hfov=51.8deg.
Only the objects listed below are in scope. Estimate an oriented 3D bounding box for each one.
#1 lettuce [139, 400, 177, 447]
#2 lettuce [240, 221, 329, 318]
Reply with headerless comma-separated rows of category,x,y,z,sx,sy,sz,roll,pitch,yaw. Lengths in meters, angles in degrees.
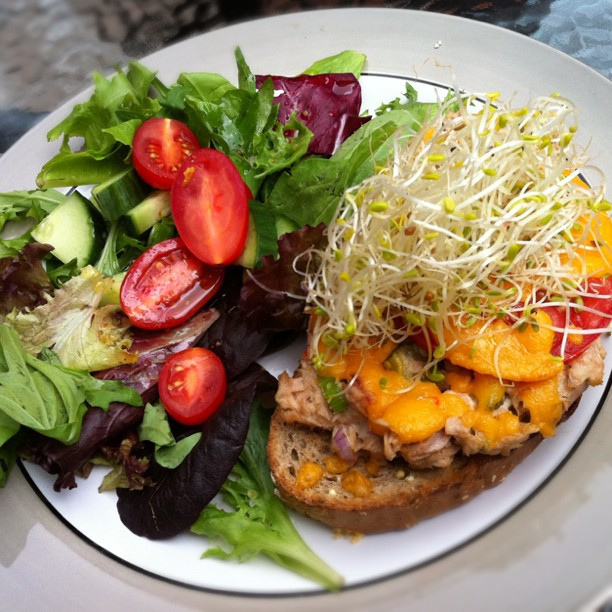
lettuce,-0.627,0.489,2.628,0.162,0.060,0.173,-2,69,2
lettuce,-0.059,-0.167,2.734,0.128,0.411,0.372,21,84,30
